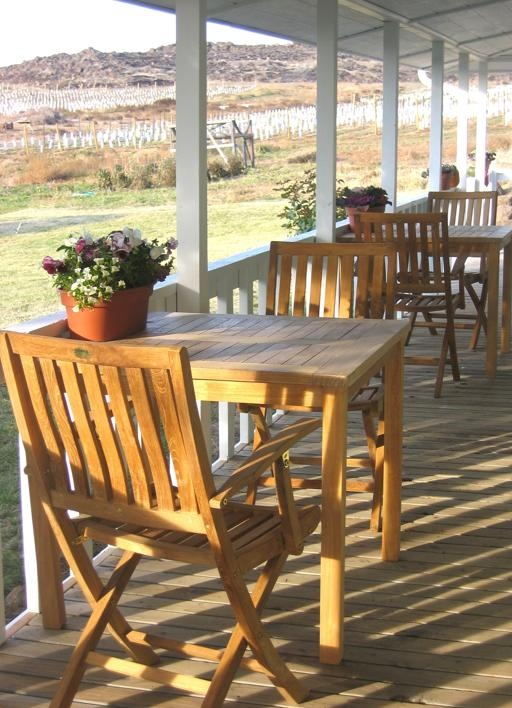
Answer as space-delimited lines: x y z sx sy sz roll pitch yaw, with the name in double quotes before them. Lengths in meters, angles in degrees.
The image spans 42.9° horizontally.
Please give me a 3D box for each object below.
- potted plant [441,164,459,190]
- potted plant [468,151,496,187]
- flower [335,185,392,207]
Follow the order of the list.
"potted plant" 2.466 -2.263 8.332 0.151 0.359 0.577 1 7 22
"potted plant" 4.348 -3.523 12.469 0.315 0.784 1.360 2 7 25
"flower" 0.920 -1.289 5.519 0.419 0.167 0.379 3 19 9
